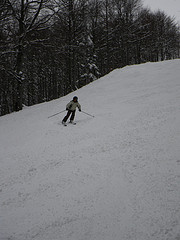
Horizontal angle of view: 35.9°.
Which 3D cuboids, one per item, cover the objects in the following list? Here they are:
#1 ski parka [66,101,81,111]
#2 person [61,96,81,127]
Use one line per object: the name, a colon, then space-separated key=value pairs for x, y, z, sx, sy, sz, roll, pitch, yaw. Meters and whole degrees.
ski parka: x=-0.689 y=-0.587 z=11.428 sx=0.541 sy=0.301 sz=0.405 roll=-6 pitch=3 yaw=-7
person: x=-0.822 y=-0.405 z=11.877 sx=0.834 sy=0.904 sz=2.430 roll=-5 pitch=3 yaw=-4
